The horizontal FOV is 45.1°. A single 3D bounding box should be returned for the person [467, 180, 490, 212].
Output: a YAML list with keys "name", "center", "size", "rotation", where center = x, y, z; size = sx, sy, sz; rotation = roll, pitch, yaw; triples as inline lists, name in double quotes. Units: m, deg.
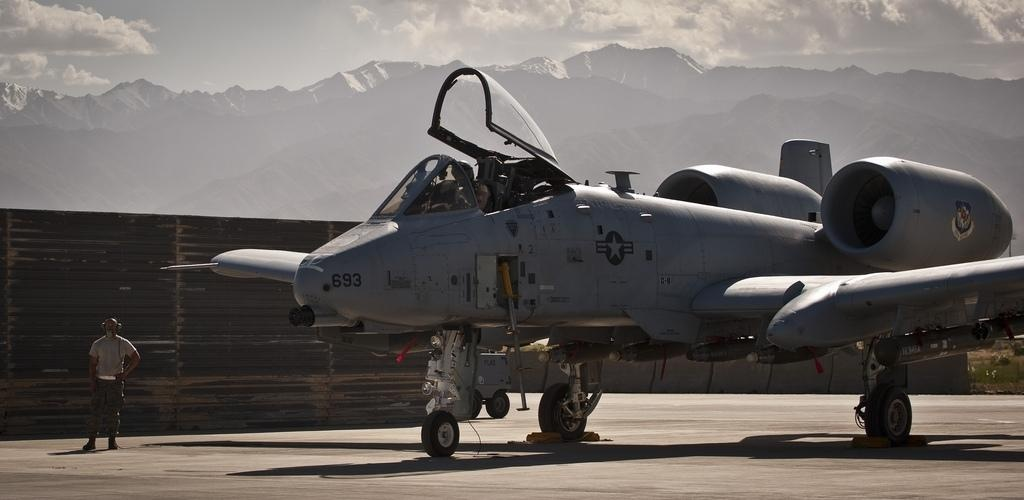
- name: "person"
  center: [-1.093, -1.936, 45.036]
  size: [0.553, 1.099, 0.273]
  rotation: [7, -12, -40]

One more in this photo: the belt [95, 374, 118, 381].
- name: "belt"
  center: [-15.216, 4.801, 46.207]
  size: [0.684, 0.191, 0.118]
  rotation: [1, -9, -13]
